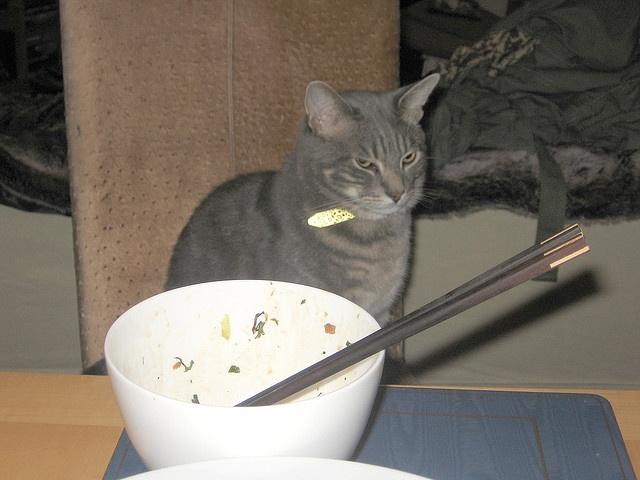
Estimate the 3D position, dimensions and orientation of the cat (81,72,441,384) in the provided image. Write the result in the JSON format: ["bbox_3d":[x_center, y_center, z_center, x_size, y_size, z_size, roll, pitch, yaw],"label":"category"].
[{"bbox_3d":[-0.075,-0.145,1.860,0.631,0.761,0.446,12,22,14],"label":"cat"}]
